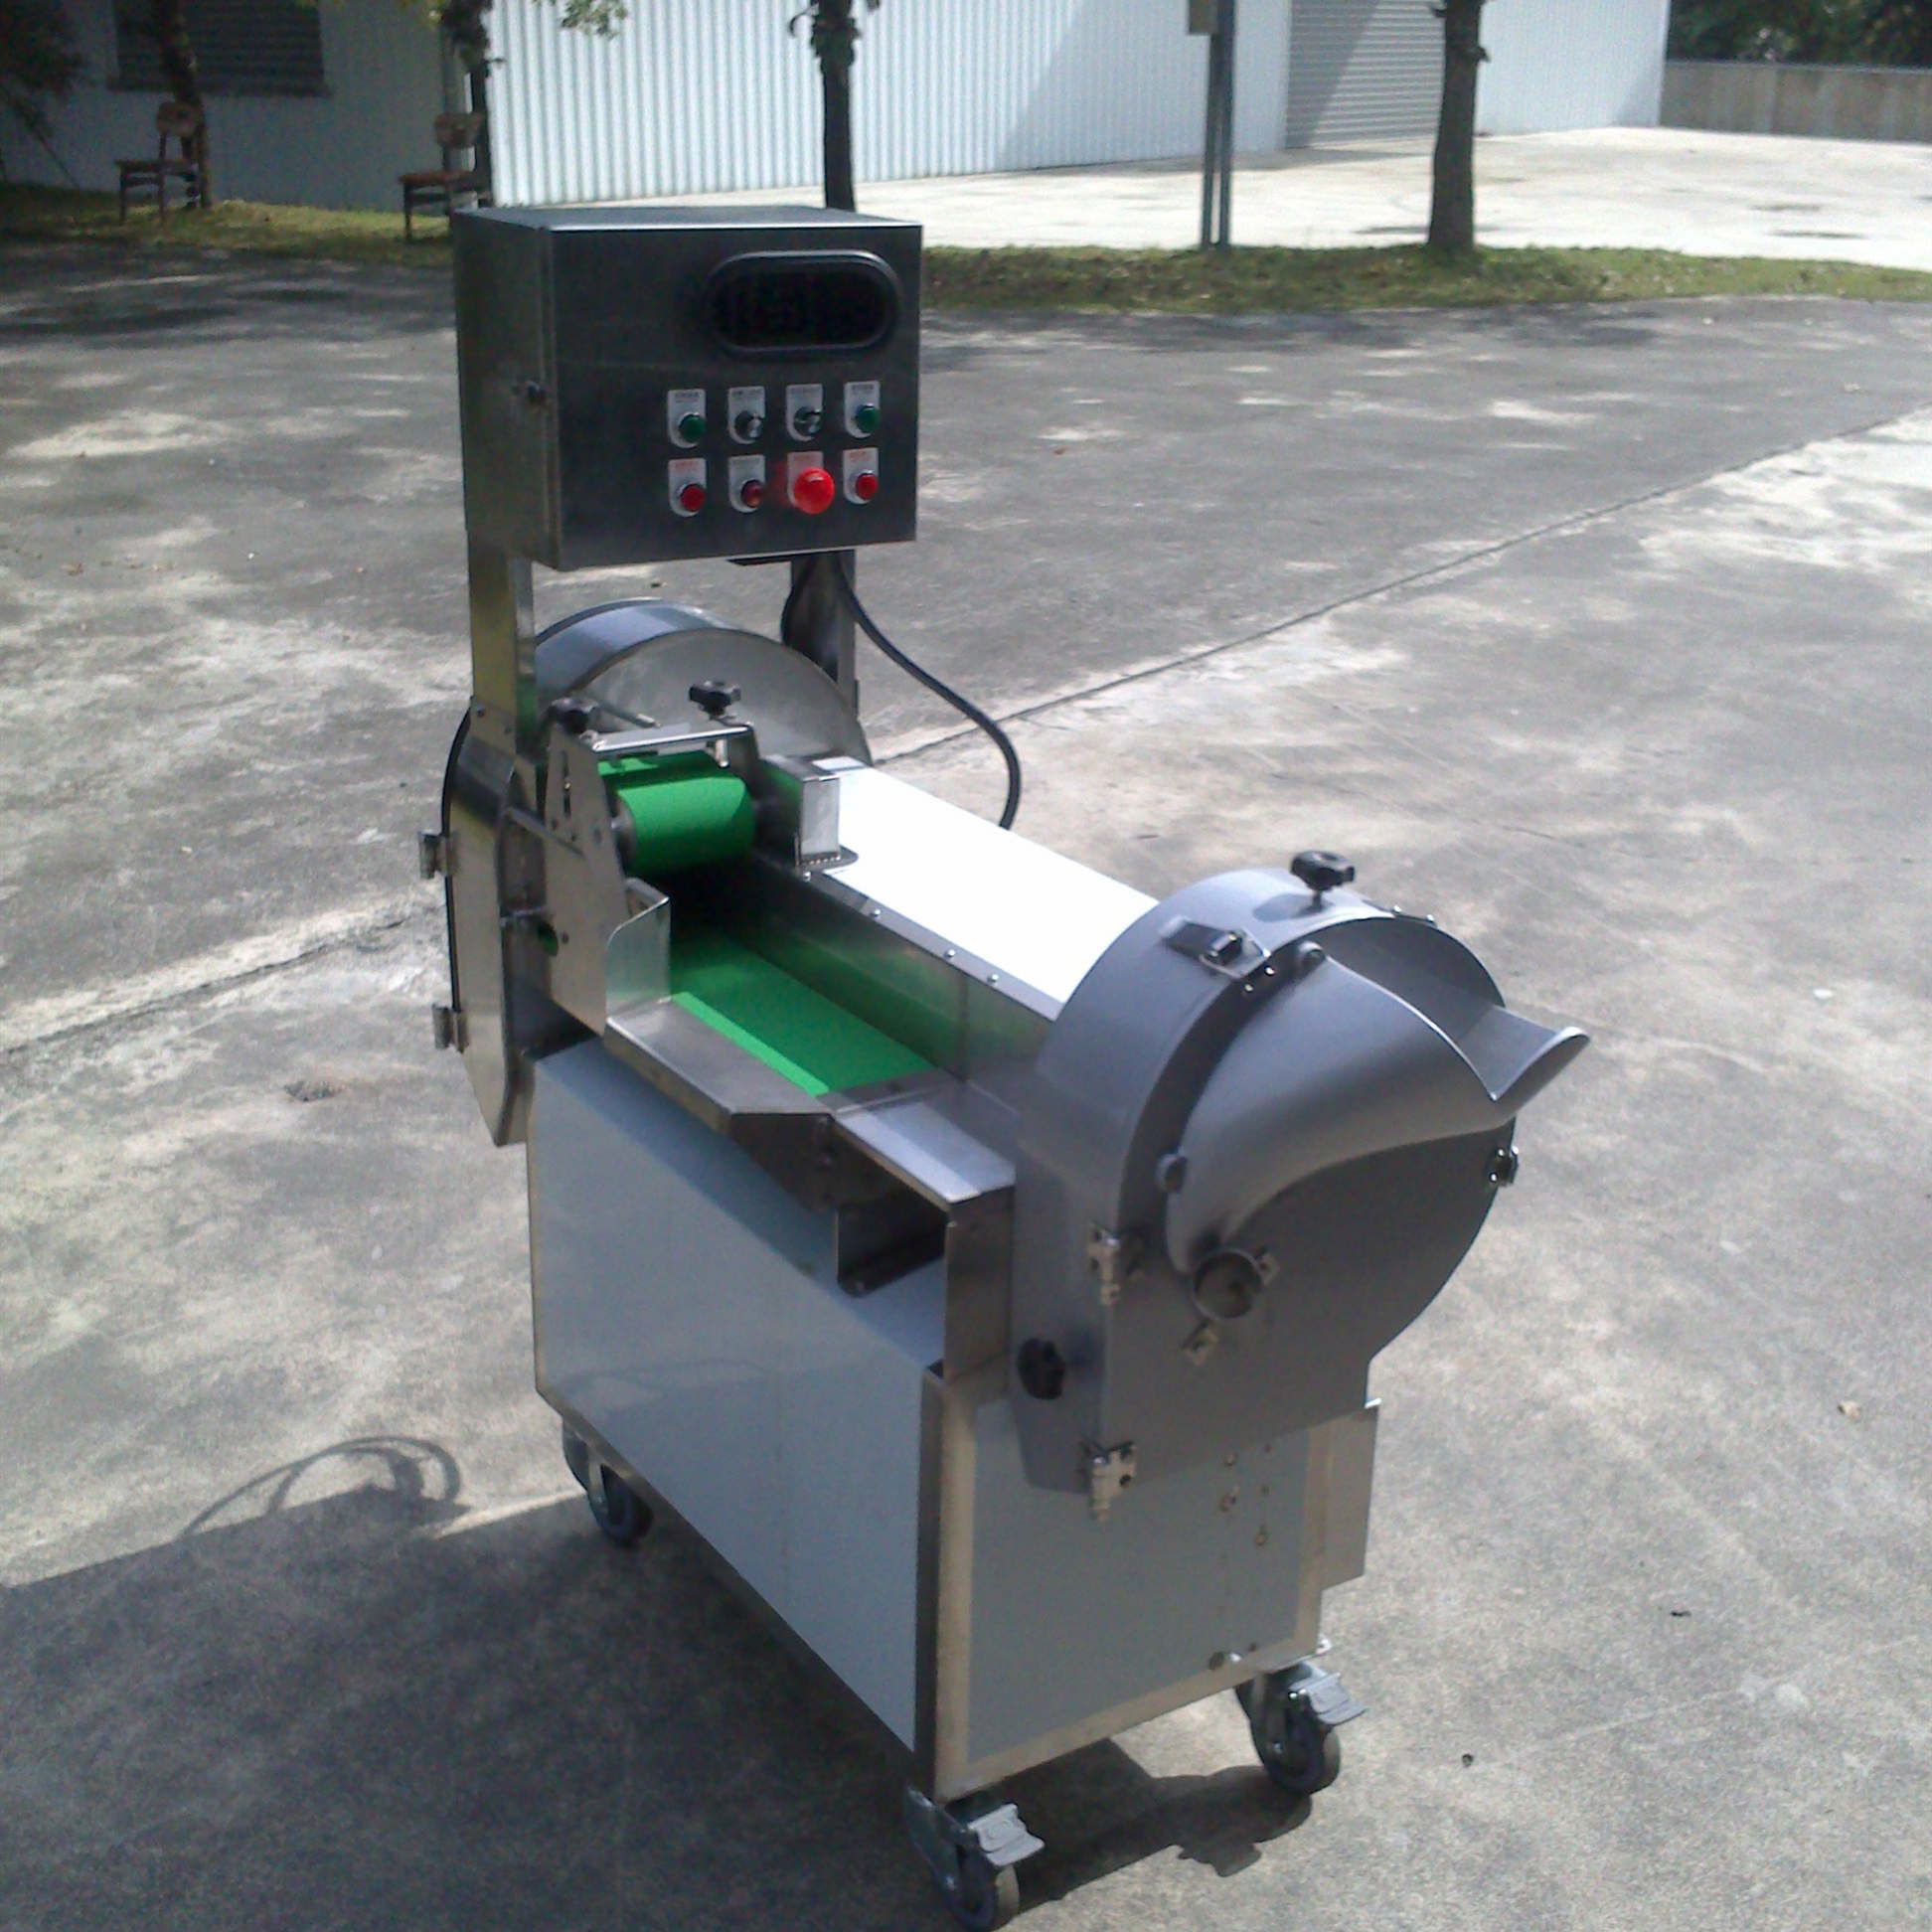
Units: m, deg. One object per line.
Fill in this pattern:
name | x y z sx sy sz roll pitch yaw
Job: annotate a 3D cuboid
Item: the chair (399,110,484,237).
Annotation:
chair | -4.986 -7.592 17.760 0.836 1.000 0.733 25 39 34
